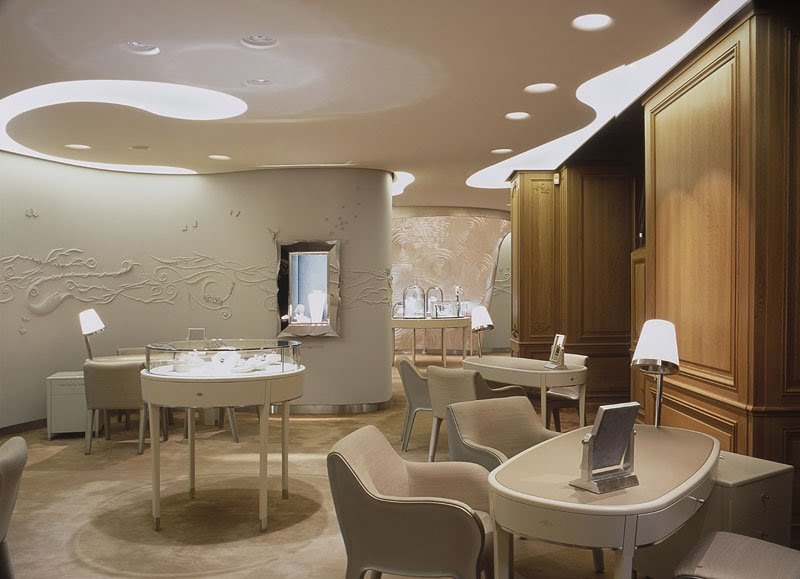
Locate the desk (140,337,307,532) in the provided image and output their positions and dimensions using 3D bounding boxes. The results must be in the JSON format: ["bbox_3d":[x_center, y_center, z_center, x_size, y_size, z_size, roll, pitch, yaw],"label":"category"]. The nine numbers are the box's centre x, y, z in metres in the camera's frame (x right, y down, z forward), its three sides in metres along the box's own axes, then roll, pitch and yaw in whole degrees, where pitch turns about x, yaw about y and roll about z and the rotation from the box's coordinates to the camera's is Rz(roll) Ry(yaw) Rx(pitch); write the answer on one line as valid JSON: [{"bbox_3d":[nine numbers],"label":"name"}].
[{"bbox_3d":[-1.438,1.112,4.868,1.261,1.339,1.280,-3,-3,39],"label":"desk"}]

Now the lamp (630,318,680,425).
[{"bbox_3d":[1.740,0.576,4.036,0.256,0.798,0.929,2,4,25],"label":"lamp"}]

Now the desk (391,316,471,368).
[{"bbox_3d":[0.399,0.987,11.862,1.394,0.862,1.419,1,0,-8],"label":"desk"}]
